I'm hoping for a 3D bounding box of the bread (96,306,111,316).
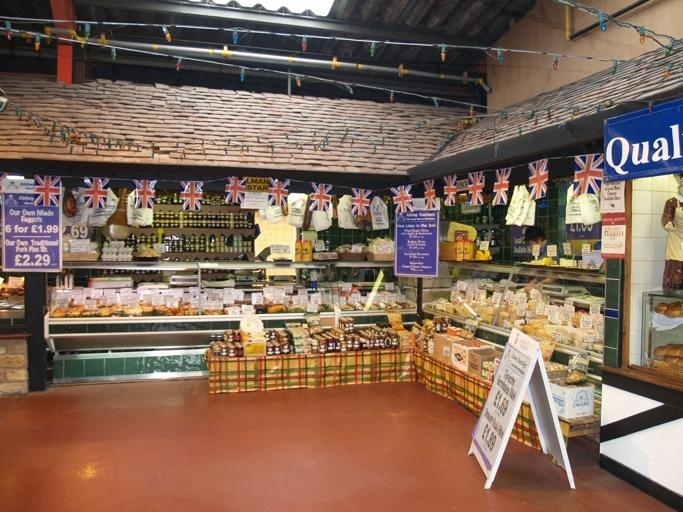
[{"bbox_3d":[-3.469,0.838,8.170,0.148,0.038,0.144,6,10,7],"label":"bread"}]

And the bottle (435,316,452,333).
[{"bbox_3d":[1.462,1.008,8.027,0.222,0.203,0.215,0,3,10],"label":"bottle"}]

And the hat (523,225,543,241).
[{"bbox_3d":[3.534,-0.381,10.102,0.382,0.332,0.291,3,-2,-15],"label":"hat"}]

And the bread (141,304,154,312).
[{"bbox_3d":[-2.913,0.810,8.362,0.137,0.035,0.129,-1,16,-31],"label":"bread"}]

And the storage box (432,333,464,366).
[{"bbox_3d":[1.381,1.268,7.587,0.423,0.544,0.303,1,18,3],"label":"storage box"}]

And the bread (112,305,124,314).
[{"bbox_3d":[-3.317,0.815,8.259,0.127,0.036,0.133,4,16,0],"label":"bread"}]

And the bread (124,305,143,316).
[{"bbox_3d":[-3.097,0.829,8.306,0.267,0.089,0.317,-7,14,-27],"label":"bread"}]

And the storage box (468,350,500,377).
[{"bbox_3d":[1.799,1.357,7.019,0.335,0.221,0.329,-2,4,-15],"label":"storage box"}]

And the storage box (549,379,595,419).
[{"bbox_3d":[2.507,1.557,6.030,0.398,0.306,0.390,-1,-2,-1],"label":"storage box"}]

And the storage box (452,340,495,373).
[{"bbox_3d":[1.693,1.292,7.179,0.434,0.258,0.437,0,2,-13],"label":"storage box"}]

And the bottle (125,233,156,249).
[{"bbox_3d":[-3.908,-0.302,10.878,0.518,0.267,0.405,-2,13,-9],"label":"bottle"}]

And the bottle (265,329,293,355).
[{"bbox_3d":[-0.886,1.265,7.906,0.333,0.122,0.460,0,3,-5],"label":"bottle"}]

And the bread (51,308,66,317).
[{"bbox_3d":[-4.050,0.835,8.016,0.201,0.093,0.194,-6,14,-26],"label":"bread"}]

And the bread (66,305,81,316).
[{"bbox_3d":[-3.867,0.819,8.096,0.149,0.053,0.143,2,9,-12],"label":"bread"}]
